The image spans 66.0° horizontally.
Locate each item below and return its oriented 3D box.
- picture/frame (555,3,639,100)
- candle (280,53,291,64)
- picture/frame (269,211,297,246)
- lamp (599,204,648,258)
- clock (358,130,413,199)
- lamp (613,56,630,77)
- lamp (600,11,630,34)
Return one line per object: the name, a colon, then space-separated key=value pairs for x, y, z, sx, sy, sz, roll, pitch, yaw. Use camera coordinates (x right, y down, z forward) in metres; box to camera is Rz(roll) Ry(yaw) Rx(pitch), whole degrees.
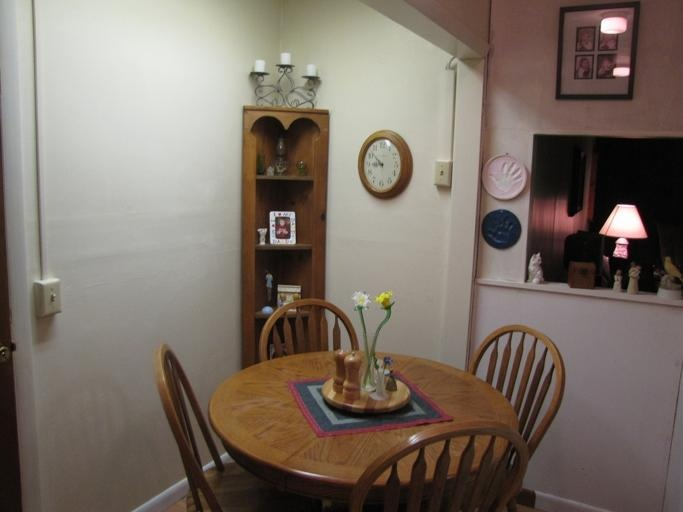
picture/frame: x=1.417 y=-1.123 z=2.875 sx=0.467 sy=0.633 sz=0.022 roll=5 pitch=9 yaw=29
candle: x=-0.356 y=-1.270 z=3.407 sx=0.063 sy=0.088 sz=0.072 roll=-2 pitch=8 yaw=-13
picture/frame: x=-0.401 y=-0.181 z=3.580 sx=0.205 sy=0.277 sz=0.024 roll=1 pitch=-1 yaw=-24
lamp: x=1.631 y=-0.138 z=3.037 sx=0.242 sy=0.315 sz=0.173 roll=5 pitch=9 yaw=31
clock: x=0.299 y=-0.594 z=3.393 sx=0.393 sy=0.512 sz=0.073 roll=2 pitch=4 yaw=33
lamp: x=1.518 y=-1.017 z=2.842 sx=0.096 sy=0.117 sz=0.096 roll=-11 pitch=20 yaw=-37
lamp: x=1.481 y=-1.242 z=2.834 sx=0.104 sy=0.062 sz=0.111 roll=1 pitch=8 yaw=12
